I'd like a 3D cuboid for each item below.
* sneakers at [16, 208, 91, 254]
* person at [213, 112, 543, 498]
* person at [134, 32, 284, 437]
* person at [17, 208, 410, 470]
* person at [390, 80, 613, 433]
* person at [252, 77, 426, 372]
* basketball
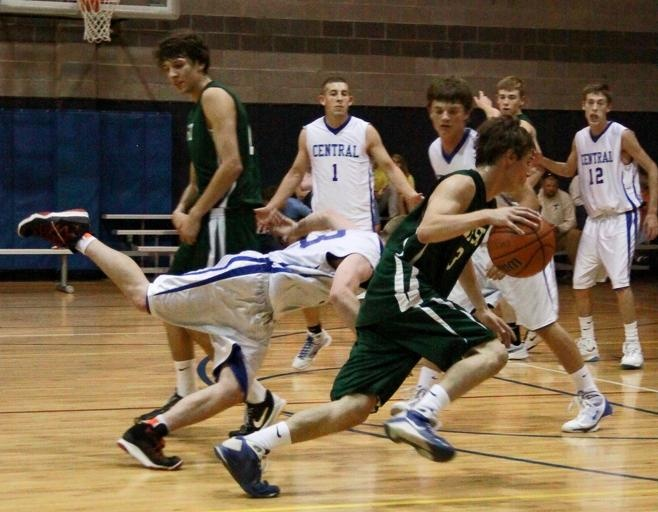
[{"bbox_3d":[-1.385,-0.118,4.354,0.473,0.212,0.167,-5,-18,1],"label":"sneakers"},{"bbox_3d":[0.304,0.231,3.889,1.370,1.840,0.843,3,-17,10],"label":"person"},{"bbox_3d":[-0.710,-0.127,4.807,0.830,2.220,0.670,-3,-5,44],"label":"person"},{"bbox_3d":[-0.577,0.306,4.082,2.046,1.229,0.782,4,2,-25],"label":"person"},{"bbox_3d":[1.230,0.046,5.004,0.833,1.827,1.178,12,-10,-7],"label":"person"},{"bbox_3d":[0.110,-0.254,6.166,1.350,2.106,0.672,-2,4,1],"label":"person"},{"bbox_3d":[0.921,-0.063,3.914,0.287,0.269,0.283,2,8,40],"label":"basketball"}]
